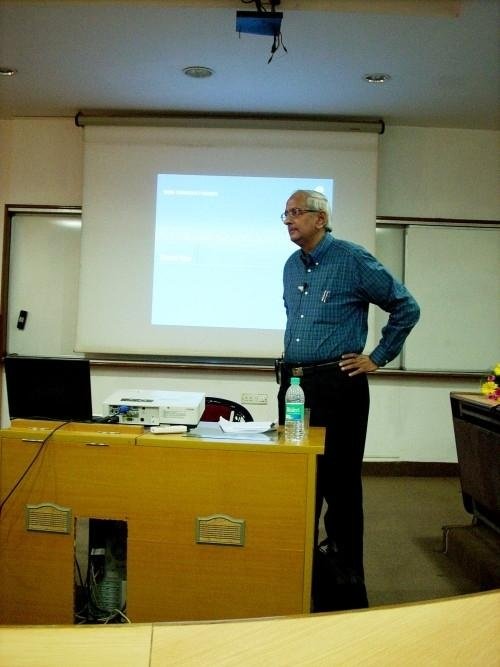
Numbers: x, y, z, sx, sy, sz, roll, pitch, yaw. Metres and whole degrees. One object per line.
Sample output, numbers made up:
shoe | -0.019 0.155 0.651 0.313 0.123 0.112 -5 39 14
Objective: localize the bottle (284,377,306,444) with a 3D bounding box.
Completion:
bottle | 0.145 0.241 1.983 0.062 0.192 0.170 1 -2 3

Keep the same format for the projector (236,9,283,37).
projector | 0.032 -1.335 2.617 0.180 0.125 0.155 1 -2 -6

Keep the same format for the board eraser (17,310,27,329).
board eraser | -1.771 -0.105 4.757 0.077 0.134 0.033 4 -3 -8

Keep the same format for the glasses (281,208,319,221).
glasses | 0.204 -0.467 2.460 0.082 0.022 0.078 3 -5 -32

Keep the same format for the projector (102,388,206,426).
projector | -0.333 0.260 2.136 0.332 0.114 0.241 1 -2 -1
